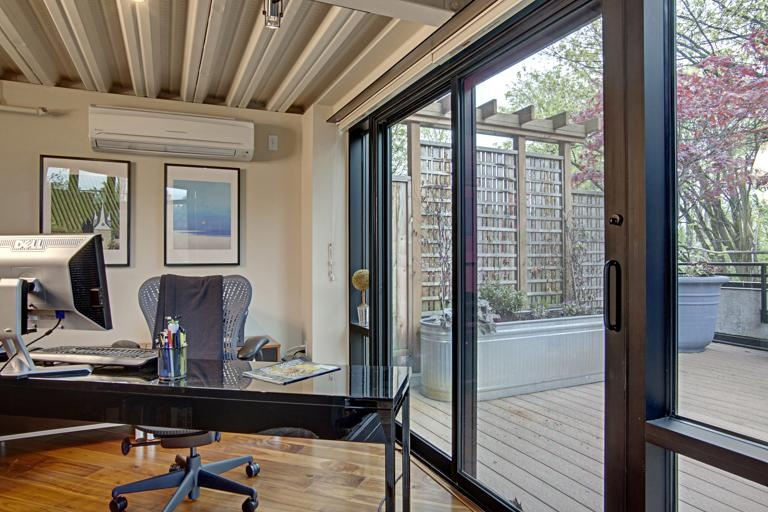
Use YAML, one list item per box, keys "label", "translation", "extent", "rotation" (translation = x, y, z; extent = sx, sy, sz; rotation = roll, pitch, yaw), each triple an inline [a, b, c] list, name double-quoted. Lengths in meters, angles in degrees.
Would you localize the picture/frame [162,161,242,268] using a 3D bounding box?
- label: "picture/frame"
  translation: [-1.796, -0.394, 5.344]
  extent: [0.726, 0.964, 0.278]
  rotation: [-3, 16, -18]
